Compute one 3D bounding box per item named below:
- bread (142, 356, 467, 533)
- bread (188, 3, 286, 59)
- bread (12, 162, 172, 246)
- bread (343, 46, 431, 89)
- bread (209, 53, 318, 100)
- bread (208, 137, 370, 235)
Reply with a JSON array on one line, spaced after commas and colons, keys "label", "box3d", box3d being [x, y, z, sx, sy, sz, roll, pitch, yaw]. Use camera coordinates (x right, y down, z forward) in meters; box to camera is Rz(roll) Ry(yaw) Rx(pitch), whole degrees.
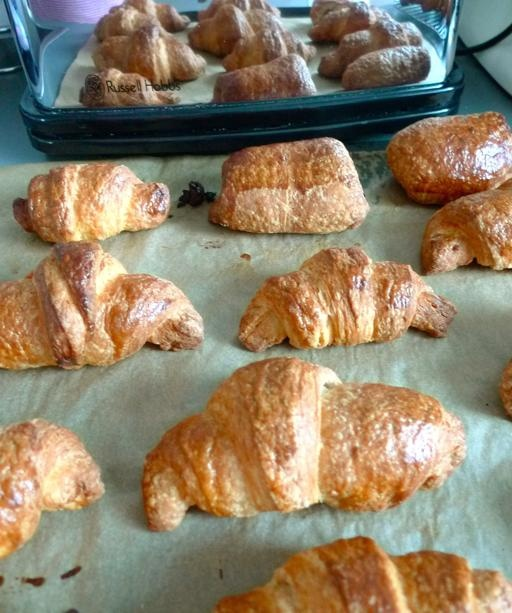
[{"label": "bread", "box3d": [0.054, 0.168, 0.683, 0.459, 0.163, 0.210, -4, 21, 3]}, {"label": "bread", "box3d": [-0.064, -0.612, 1.265, 0.253, 0.090, 0.120, 0, 74, 7]}, {"label": "bread", "box3d": [-0.310, -0.188, 1.090, 0.240, 0.091, 0.115, -5, 45, -11]}, {"label": "bread", "box3d": [0.277, -0.493, 1.141, 0.198, 0.063, 0.096, -10, 36, -10]}, {"label": "bread", "box3d": [0.015, -0.466, 1.184, 0.214, 0.084, 0.072, -3, 57, -4]}, {"label": "bread", "box3d": [0.064, -0.229, 1.132, 0.290, 0.126, 0.155, -2, 45, 2]}]
